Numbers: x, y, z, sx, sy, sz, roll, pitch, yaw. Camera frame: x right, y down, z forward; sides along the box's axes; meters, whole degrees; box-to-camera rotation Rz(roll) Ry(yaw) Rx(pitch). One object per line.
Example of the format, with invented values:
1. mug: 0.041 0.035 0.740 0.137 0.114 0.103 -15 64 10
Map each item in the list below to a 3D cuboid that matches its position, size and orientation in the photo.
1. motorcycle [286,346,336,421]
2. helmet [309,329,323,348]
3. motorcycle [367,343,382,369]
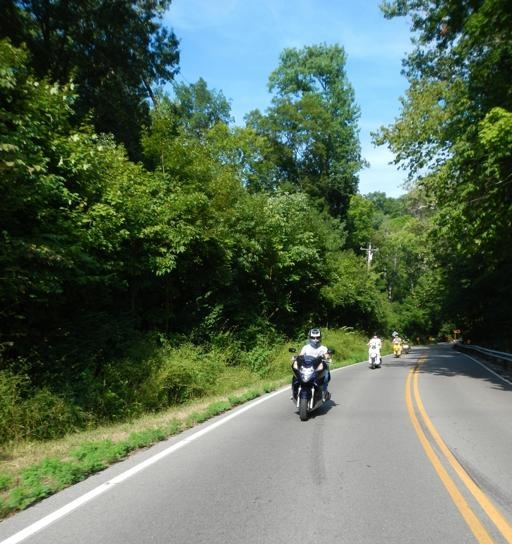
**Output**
1. motorcycle: 1.183 2.282 10.835 0.919 1.388 1.504 -4 -7 5
2. helmet: 1.305 1.453 11.465 0.306 0.355 0.403 -1 -6 8
3. motorcycle: 5.292 3.798 23.193 0.519 1.009 1.058 -5 -7 9
